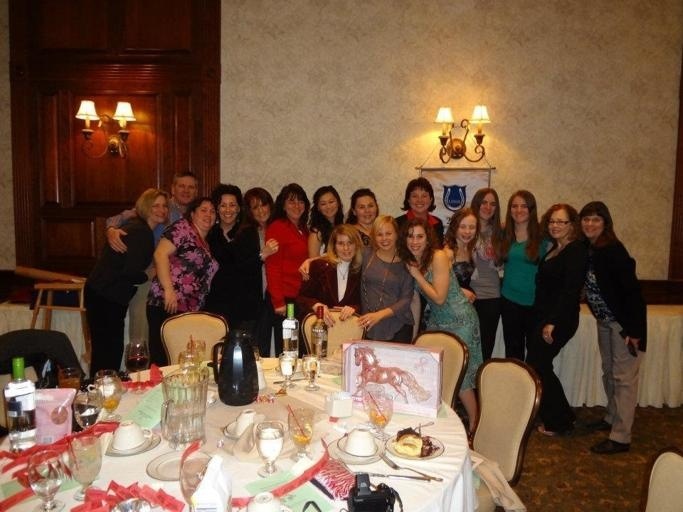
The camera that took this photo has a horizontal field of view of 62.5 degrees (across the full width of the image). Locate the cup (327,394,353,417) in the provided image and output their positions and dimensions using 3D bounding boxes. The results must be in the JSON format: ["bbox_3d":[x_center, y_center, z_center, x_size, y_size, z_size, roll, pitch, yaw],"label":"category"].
[{"bbox_3d":[-0.013,0.876,3.334,0.122,0.137,0.132,-1,-2,0],"label":"cup"}]

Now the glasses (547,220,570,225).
[{"bbox_3d":[1.884,-0.291,4.878,0.162,0.041,0.043,2,4,21],"label":"glasses"}]

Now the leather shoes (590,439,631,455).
[{"bbox_3d":[2.284,1.623,4.857,0.356,0.161,0.130,2,-3,0],"label":"leather shoes"}]

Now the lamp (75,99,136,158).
[{"bbox_3d":[-2.838,-1.529,6.852,0.667,0.681,0.366,2,6,2],"label":"lamp"}]

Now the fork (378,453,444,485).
[{"bbox_3d":[0.355,1.118,2.931,0.285,0.047,0.043,12,35,32],"label":"fork"}]

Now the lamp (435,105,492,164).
[{"bbox_3d":[1.457,-1.485,6.906,0.636,0.681,0.335,-2,10,-1],"label":"lamp"}]

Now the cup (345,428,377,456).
[{"bbox_3d":[0.095,1.000,2.987,0.128,0.078,0.136,2,-1,0],"label":"cup"}]

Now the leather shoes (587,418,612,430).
[{"bbox_3d":[2.380,1.566,5.248,0.252,0.112,0.091,4,-1,1],"label":"leather shoes"}]
